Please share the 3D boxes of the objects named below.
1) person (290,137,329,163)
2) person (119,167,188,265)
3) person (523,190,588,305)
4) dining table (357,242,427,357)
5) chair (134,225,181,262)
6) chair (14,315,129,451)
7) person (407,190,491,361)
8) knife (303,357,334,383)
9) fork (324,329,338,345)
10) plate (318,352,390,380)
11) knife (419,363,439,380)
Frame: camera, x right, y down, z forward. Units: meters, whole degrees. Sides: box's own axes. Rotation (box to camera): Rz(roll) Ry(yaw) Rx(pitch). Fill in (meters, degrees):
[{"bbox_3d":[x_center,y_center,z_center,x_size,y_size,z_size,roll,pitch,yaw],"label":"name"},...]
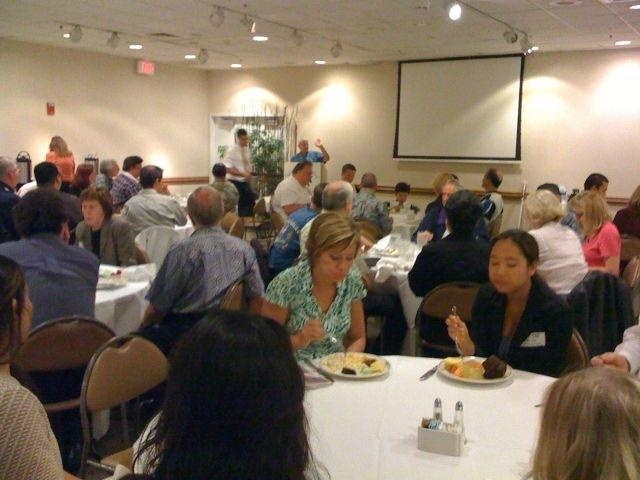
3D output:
[{"bbox_3d":[-0.216,-1.736,9.590,0.651,0.507,1.216,1,13,12],"label":"person"},{"bbox_3d":[-1.792,-0.187,5.359,0.507,1.324,0.432,12,31,8],"label":"person"},{"bbox_3d":[1.677,0.096,3.515,0.376,0.966,0.512,-10,15,-4],"label":"person"},{"bbox_3d":[0.353,0.489,3.880,0.511,0.612,0.512,9,-36,-40],"label":"dining table"},{"bbox_3d":[-1.718,0.013,5.047,0.429,0.457,0.253,-11,37,-42],"label":"chair"},{"bbox_3d":[-1.195,0.524,2.281,0.377,0.376,0.358,-8,-8,19],"label":"chair"},{"bbox_3d":[0.927,0.299,3.389,0.567,1.302,0.596,-3,23,-7],"label":"person"},{"bbox_3d":[-0.020,0.515,2.009,0.040,0.030,0.248,-11,18,-31],"label":"knife"},{"bbox_3d":[0.043,0.472,2.270,0.085,0.020,0.062,46,8,-15],"label":"fork"},{"bbox_3d":[0.130,0.513,1.963,0.132,0.023,0.140,7,15,23],"label":"plate"},{"bbox_3d":[0.440,0.542,1.953,0.033,0.009,0.191,29,16,24],"label":"knife"}]
